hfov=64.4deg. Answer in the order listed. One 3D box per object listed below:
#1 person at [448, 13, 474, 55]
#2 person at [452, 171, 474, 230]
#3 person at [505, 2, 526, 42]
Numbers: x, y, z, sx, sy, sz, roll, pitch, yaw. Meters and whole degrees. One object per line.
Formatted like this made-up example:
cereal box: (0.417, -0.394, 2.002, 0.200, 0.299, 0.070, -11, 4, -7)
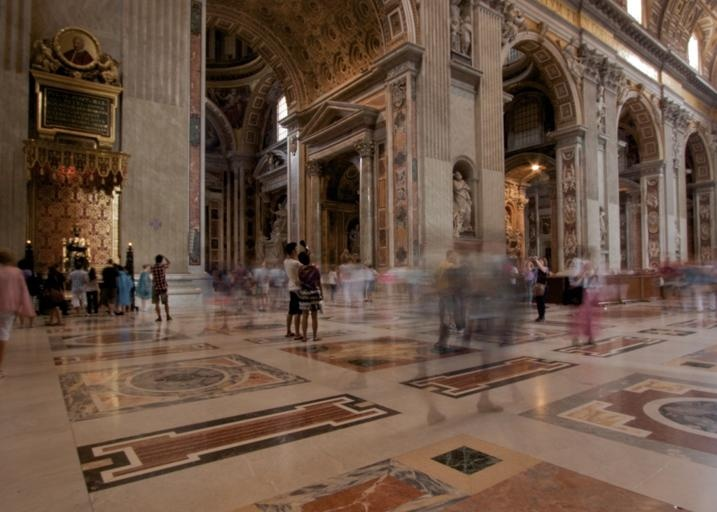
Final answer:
person: (3.344, -7.220, 18.636, 0.945, 1.286, 0.304, -8, 14, -42)
person: (3.277, -1.677, 18.389, 1.029, 1.957, 0.566, -8, 14, -42)
person: (5.328, -8.017, 19.757, 0.316, 1.329, 1.105, 9, 13, 40)
